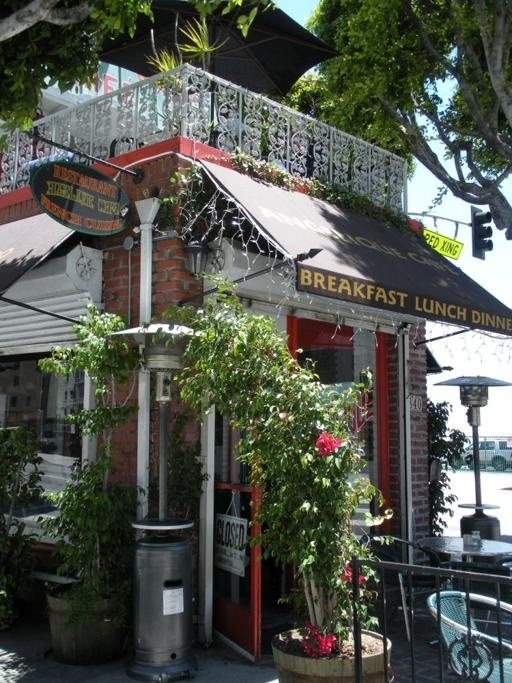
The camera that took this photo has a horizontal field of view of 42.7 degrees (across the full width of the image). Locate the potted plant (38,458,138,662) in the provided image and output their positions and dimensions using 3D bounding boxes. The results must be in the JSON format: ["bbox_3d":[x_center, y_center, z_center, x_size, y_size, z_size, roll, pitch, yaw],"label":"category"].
[{"bbox_3d":[-1.253,1.670,4.996,0.655,1.461,0.493,2,-5,-5],"label":"potted plant"}]
